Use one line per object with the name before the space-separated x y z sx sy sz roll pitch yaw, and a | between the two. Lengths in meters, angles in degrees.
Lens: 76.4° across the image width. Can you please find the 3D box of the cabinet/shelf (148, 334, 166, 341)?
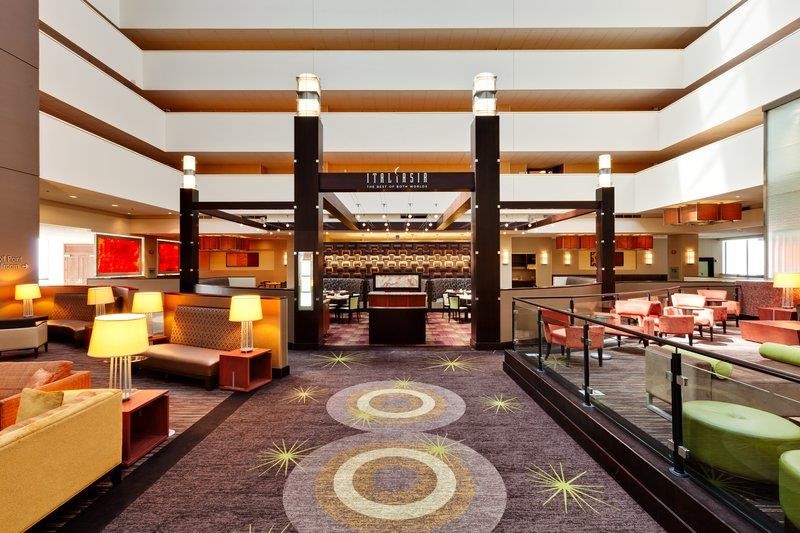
cabinet/shelf | -5.791 1.707 12.087 0.276 0.069 0.236 1 4 2

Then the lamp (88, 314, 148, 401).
lamp | -5.259 1.685 9.684 0.983 1.552 0.945 -1 -1 -11

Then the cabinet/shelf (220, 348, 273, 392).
cabinet/shelf | -3.346 2.142 11.323 0.930 0.762 1.180 0 -1 14

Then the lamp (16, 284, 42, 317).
lamp | -9.779 0.876 13.278 0.507 0.849 0.483 0 -2 -37

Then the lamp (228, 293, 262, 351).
lamp | -3.389 1.254 11.175 0.685 1.235 0.628 -1 -1 -16

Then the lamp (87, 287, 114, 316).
lamp | -8.031 0.929 13.623 0.593 0.772 0.901 0 -1 -30

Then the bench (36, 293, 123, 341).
bench | -9.148 1.325 14.276 2.550 1.391 1.347 1 -4 7

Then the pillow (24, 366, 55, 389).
pillow | -6.787 2.093 9.541 0.395 0.341 0.095 8 -28 10

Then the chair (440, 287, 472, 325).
chair | 2.149 1.304 17.674 1.061 1.263 1.484 -2 5 -29
